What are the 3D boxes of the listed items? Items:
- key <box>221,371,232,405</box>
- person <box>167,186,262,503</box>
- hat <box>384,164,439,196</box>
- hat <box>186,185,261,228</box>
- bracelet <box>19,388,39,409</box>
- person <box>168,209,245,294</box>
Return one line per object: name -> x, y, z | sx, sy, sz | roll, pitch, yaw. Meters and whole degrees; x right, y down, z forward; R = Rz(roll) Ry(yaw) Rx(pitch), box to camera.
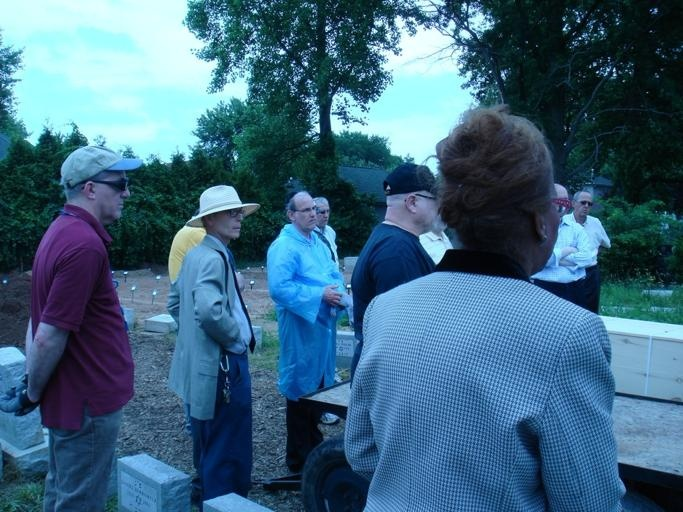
key -> -0.779, 0.895, 4.194 | 0.061, 0.153, 0.027 | 1, -1, -19
person -> -0.869, 0.612, 4.355 | 0.539, 1.618, 0.565 | 1, -1, -24
hat -> 0.446, -0.446, 3.734 | 0.359, 0.196, 0.255 | -6, 9, -9
hat -> -0.808, -0.394, 4.527 | 0.425, 0.185, 0.410 | -6, 2, -40
bracelet -> -1.765, 0.805, 3.503 | 0.054, 0.096, 0.084 | -13, 52, -38
person -> -1.297, -0.113, 5.737 | 0.555, 0.999, 0.795 | -5, -6, -15
